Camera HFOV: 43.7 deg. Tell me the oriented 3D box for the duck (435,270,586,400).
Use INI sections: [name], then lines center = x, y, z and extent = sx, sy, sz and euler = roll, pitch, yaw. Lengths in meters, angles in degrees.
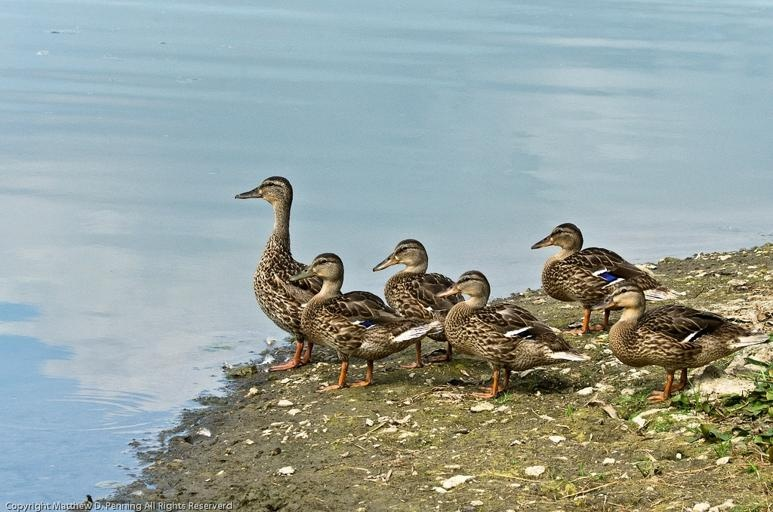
[duck]
center = 1.710, 1.133, 13.866
extent = 1.708, 1.753, 0.783
euler = 2, 3, 42
